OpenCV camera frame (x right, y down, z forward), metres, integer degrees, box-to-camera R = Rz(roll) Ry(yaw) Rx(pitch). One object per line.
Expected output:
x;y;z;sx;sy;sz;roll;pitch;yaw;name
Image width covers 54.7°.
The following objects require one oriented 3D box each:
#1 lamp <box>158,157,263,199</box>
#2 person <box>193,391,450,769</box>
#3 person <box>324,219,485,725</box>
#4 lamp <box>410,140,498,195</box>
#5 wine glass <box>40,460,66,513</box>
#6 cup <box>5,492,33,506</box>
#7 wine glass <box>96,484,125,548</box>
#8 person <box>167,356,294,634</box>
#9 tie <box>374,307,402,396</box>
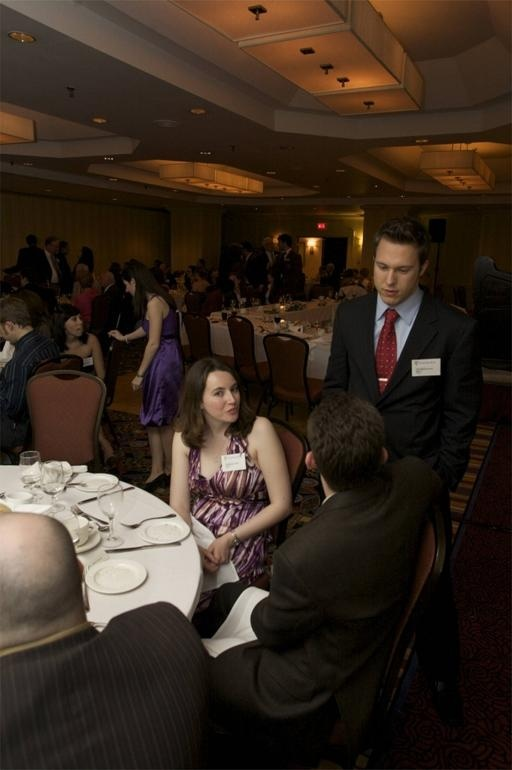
-0.779;-4.340;10.252;1.531;0.662;3.539;4;13;7;lamp
0.162;0.478;1.095;0.491;0.888;0.288;-6;15;-32;person
0.551;0.285;1.899;0.568;1.750;0.523;9;32;35;person
3.549;-3.913;8.561;1.075;0.847;2.990;8;14;22;lamp
-0.690;0.346;1.690;0.078;0.173;0.075;1;13;-31;wine glass
-0.791;0.375;1.629;0.048;0.035;0.044;1;4;0;cup
-0.435;0.368;1.439;0.069;0.067;0.164;-5;24;-14;wine glass
-0.143;0.564;1.968;0.449;1.310;0.424;10;19;16;person
0.463;-0.136;1.748;0.072;0.304;0.034;9;44;19;tie
